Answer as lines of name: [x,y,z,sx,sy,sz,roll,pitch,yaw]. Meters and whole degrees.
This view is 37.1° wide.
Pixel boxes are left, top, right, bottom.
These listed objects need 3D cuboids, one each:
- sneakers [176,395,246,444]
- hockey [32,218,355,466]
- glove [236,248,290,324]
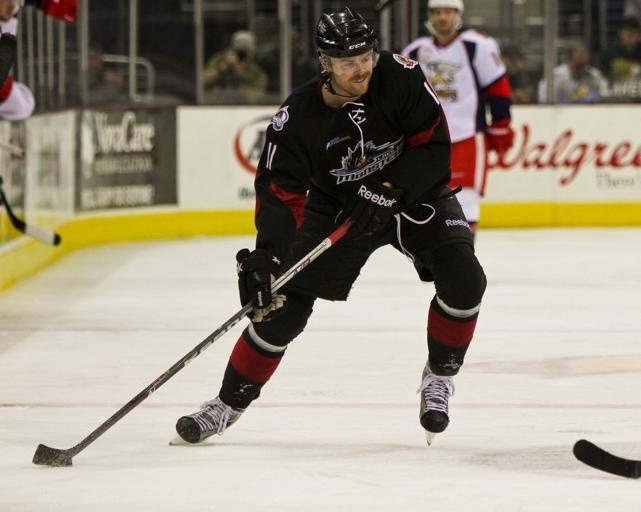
sneakers: [-0.349,0.511,3.124,0.098,0.096,0.229,32,25,18]
hockey: [-0.530,0.351,3.811,1.469,0.192,0.108,-33,34,-14]
glove: [-0.194,0.087,2.842,0.092,0.196,0.162,11,-22,-23]
